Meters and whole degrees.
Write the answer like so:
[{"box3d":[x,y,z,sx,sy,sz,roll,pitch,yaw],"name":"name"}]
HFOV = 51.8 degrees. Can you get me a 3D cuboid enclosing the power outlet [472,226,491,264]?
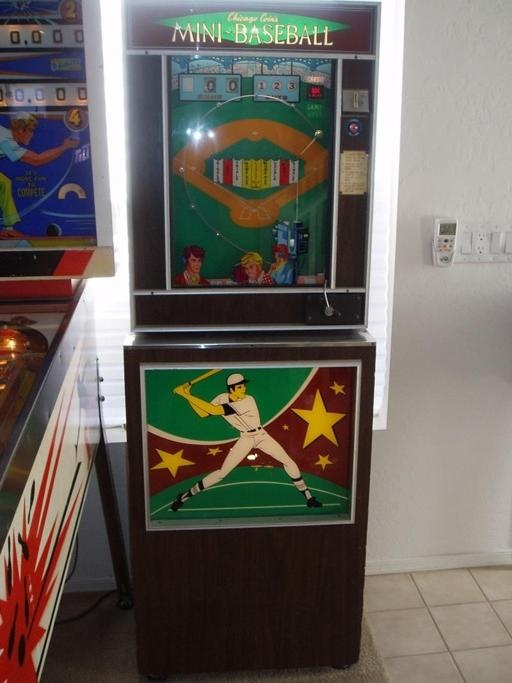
[{"box3d":[0.760,-0.327,1.779,0.068,0.109,0.012,-3,9,-11],"name":"power outlet"}]
